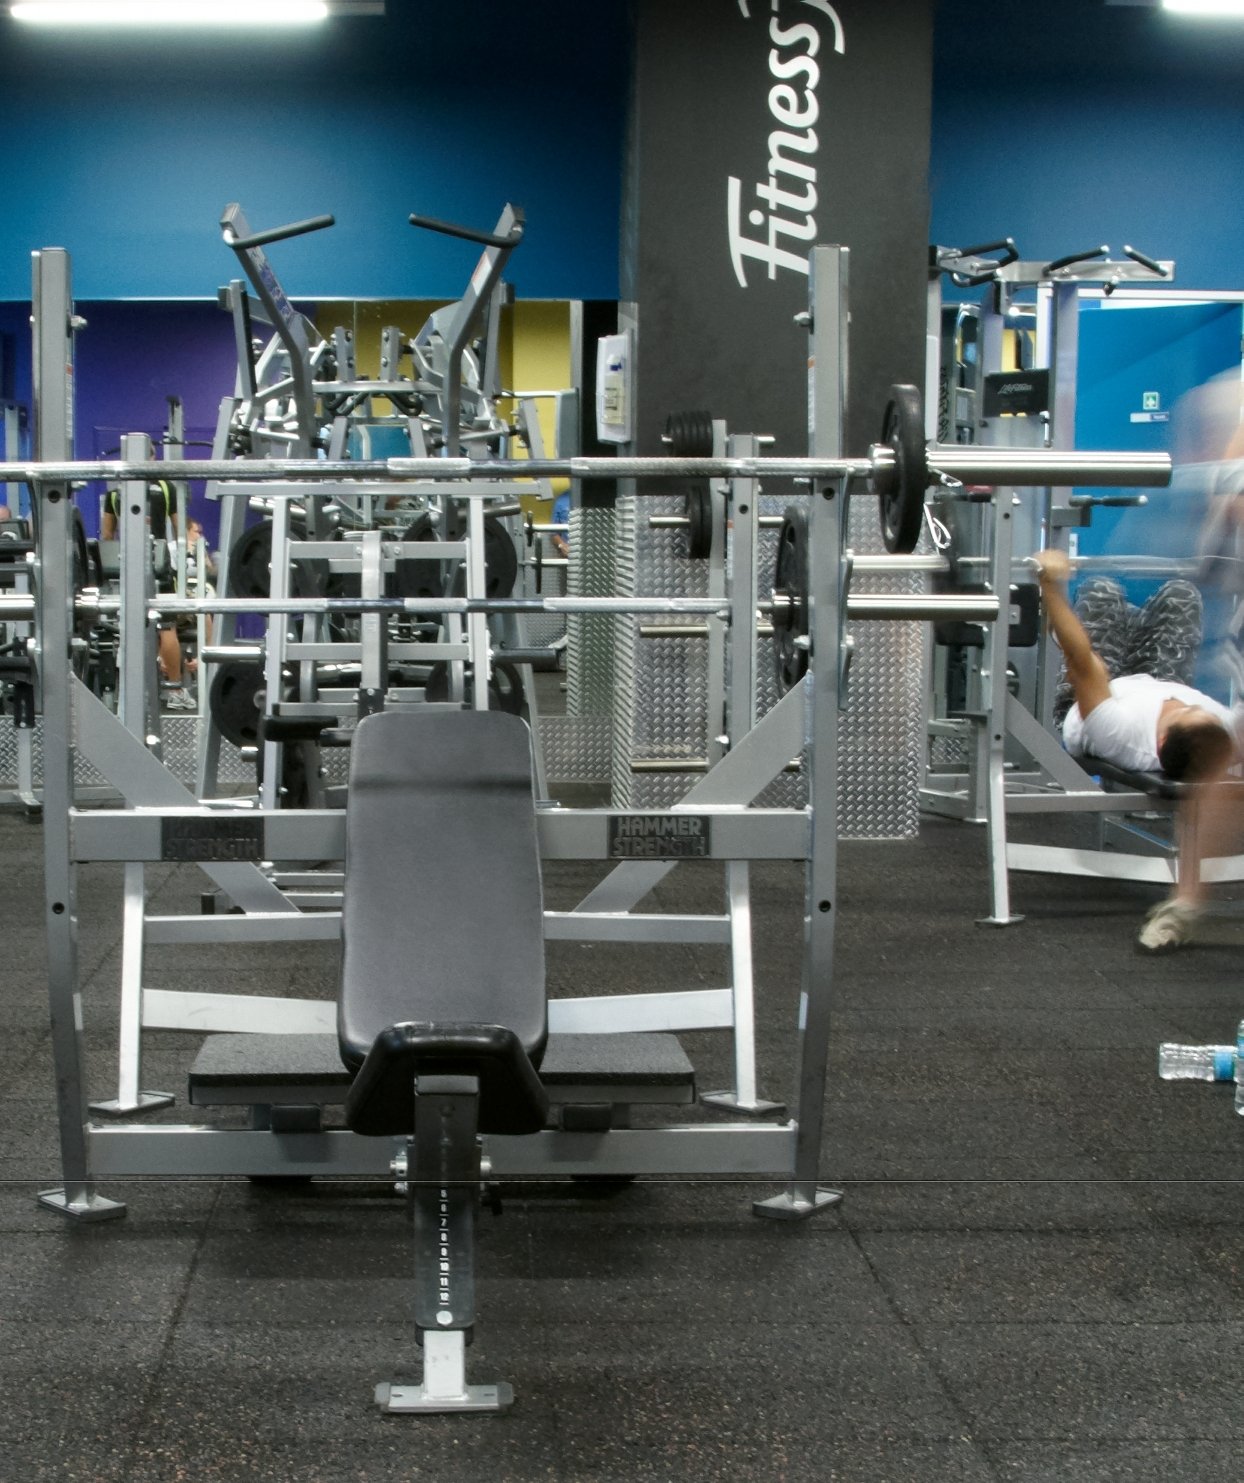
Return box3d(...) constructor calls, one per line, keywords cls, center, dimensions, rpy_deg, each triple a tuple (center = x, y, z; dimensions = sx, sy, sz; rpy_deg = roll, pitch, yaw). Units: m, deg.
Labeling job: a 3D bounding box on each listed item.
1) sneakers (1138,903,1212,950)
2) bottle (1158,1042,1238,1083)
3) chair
box3d(cls="sneakers", center=(1.348, 0.481, 4.654), dimensions=(0.102, 0.061, 0.150), rpy_deg=(-9, 24, 49))
box3d(cls="bottle", center=(1.051, 0.577, 3.456), dimensions=(0.128, 0.072, 0.153), rpy_deg=(2, 7, 13))
box3d(cls="chair", center=(-0.247, 0.376, 2.608), dimensions=(0.268, 0.476, 1.192), rpy_deg=(0, 17, -6))
